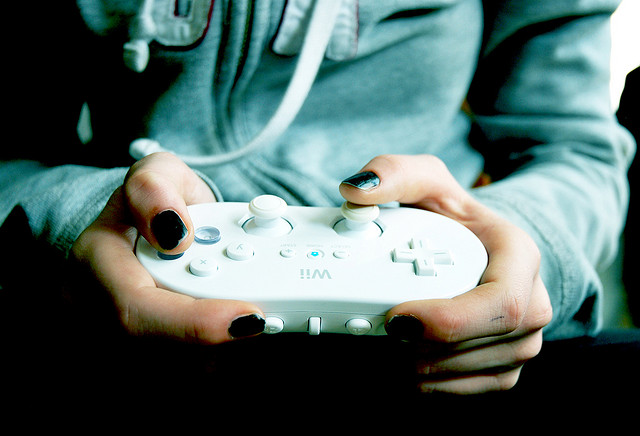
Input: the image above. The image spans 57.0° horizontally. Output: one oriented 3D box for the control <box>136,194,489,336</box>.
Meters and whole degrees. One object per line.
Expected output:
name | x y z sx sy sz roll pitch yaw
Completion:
control | -0.003 0.077 1.034 0.567 0.165 0.265 4 39 -1
